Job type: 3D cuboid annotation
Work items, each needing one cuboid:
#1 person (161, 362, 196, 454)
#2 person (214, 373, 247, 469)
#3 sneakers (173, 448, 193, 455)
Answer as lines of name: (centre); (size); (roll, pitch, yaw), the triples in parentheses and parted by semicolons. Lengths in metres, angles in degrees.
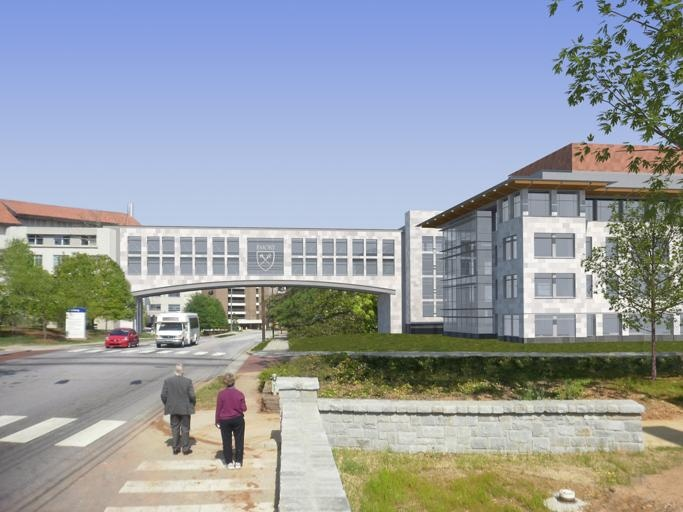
person: (-4.783, 4.502, 22.950); (0.911, 2.607, 0.797); (-1, -4, -12)
person: (-3.099, 4.607, 21.980); (0.794, 2.597, 1.012); (-1, -4, -7)
sneakers: (-4.586, 5.737, 22.830); (0.569, 0.208, 0.187); (0, 2, -39)
